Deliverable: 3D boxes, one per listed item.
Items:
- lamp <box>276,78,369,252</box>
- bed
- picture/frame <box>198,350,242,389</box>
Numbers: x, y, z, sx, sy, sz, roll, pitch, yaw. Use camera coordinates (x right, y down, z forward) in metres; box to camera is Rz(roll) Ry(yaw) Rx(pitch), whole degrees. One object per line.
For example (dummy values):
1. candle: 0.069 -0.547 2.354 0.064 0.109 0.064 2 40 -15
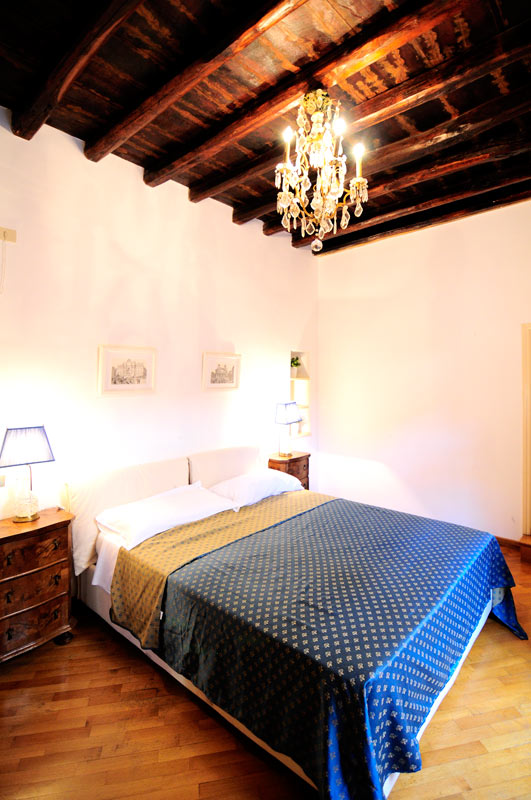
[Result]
1. lamp: 0.255 -1.104 2.679 0.439 0.777 0.417 5 13 33
2. bed: 0.218 1.026 3.024 1.931 0.656 1.799 7 11 41
3. picture/frame: -0.351 -0.234 4.381 0.027 0.307 0.475 5 9 32
